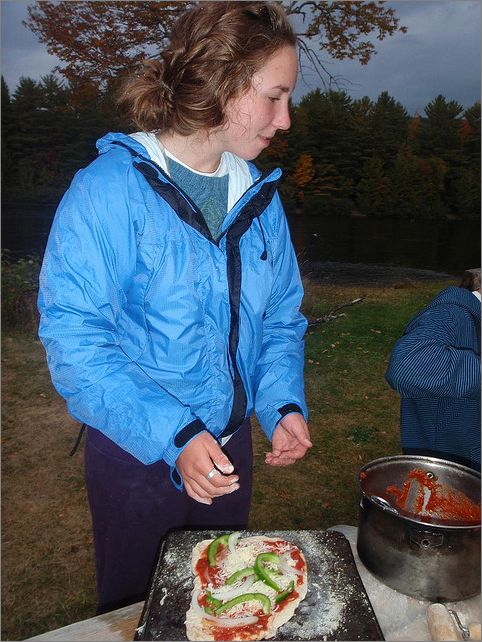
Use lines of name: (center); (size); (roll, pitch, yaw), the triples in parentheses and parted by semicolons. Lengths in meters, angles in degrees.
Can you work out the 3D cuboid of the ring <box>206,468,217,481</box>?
ring: (-0.097, 0.516, 1.947); (0.009, 0.033, 0.035); (44, -15, -14)
